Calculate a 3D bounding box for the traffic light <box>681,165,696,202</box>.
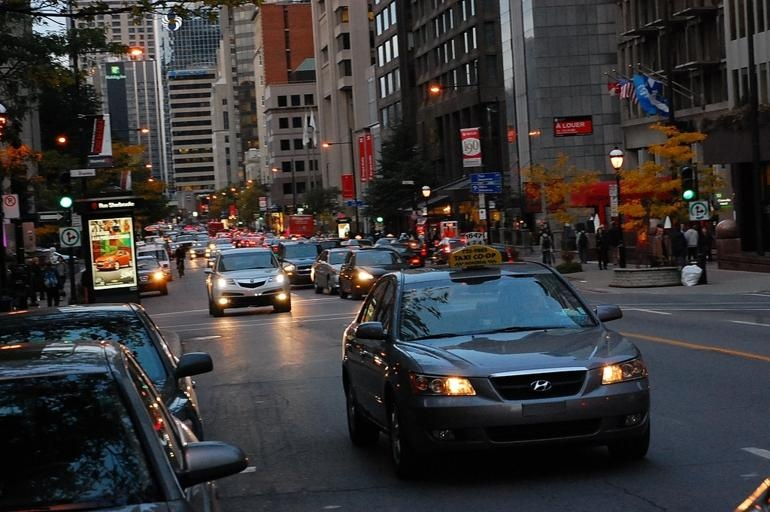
[{"bbox_3d":[12.988,-3.098,31.400,0.512,1.494,1.136,-1,4,26],"label":"traffic light"}]
